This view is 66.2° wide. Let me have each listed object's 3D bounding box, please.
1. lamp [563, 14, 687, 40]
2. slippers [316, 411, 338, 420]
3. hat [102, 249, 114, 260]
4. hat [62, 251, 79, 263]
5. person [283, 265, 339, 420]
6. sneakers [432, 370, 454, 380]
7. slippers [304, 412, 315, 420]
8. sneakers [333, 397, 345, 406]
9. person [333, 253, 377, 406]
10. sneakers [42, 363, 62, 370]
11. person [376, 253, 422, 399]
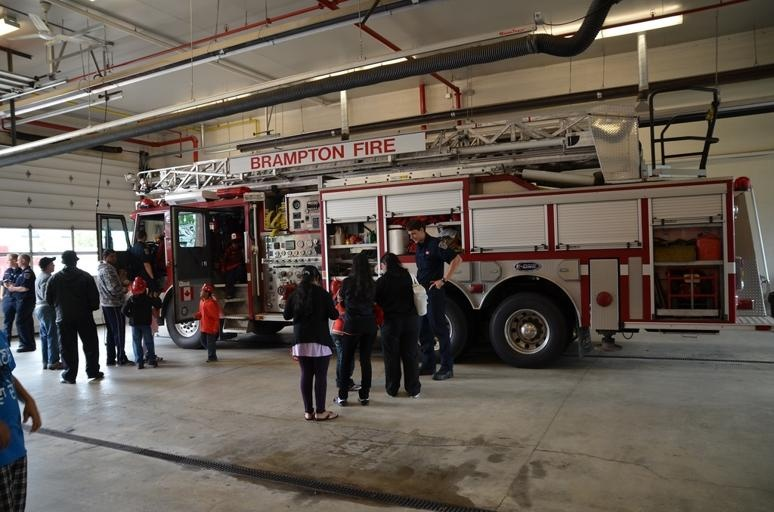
[{"bbox_3d":[5.321,-4.824,12.360,1.624,0.371,0.825,0,12,10],"label":"lamp"},{"bbox_3d":[-0.894,2.336,8.784,0.253,0.088,0.130,-1,-1,-22],"label":"slippers"},{"bbox_3d":[-5.669,-0.042,12.028,0.200,0.237,0.238,4,22,-3],"label":"hat"},{"bbox_3d":[-5.941,0.049,11.100,0.237,0.294,0.321,-10,14,-30],"label":"hat"},{"bbox_3d":[-1.062,1.295,8.724,0.589,2.236,0.644,-13,16,-39],"label":"person"},{"bbox_3d":[0.970,2.069,10.302,0.309,0.131,0.140,4,-7,-35],"label":"sneakers"},{"bbox_3d":[-1.140,2.354,8.744,0.115,0.081,0.290,0,2,-10],"label":"slippers"},{"bbox_3d":[-0.745,2.272,9.279,0.079,0.087,0.207,2,2,-33],"label":"sneakers"},{"bbox_3d":[-0.501,1.155,9.194,0.715,2.350,0.499,-4,13,-3],"label":"person"},{"bbox_3d":[-6.918,2.256,12.252,0.387,0.176,0.136,-2,-2,-9],"label":"sneakers"},{"bbox_3d":[0.179,1.111,9.376,0.637,2.293,0.439,-2,13,5],"label":"person"}]
